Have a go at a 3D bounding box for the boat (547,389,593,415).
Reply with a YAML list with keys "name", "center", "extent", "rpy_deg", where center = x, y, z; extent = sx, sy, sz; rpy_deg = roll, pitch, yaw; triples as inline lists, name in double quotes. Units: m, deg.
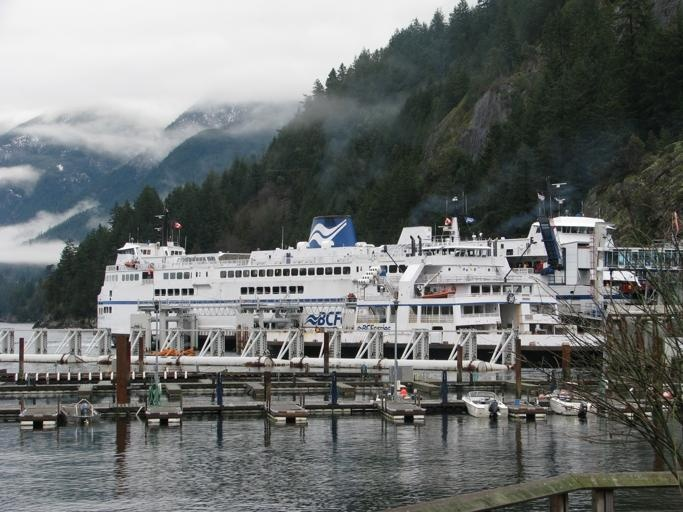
- name: "boat"
  center: [24.518, 16.051, 175.893]
  extent: [3.230, 2.225, 6.087]
  rpy_deg: [1, 10, -5]
